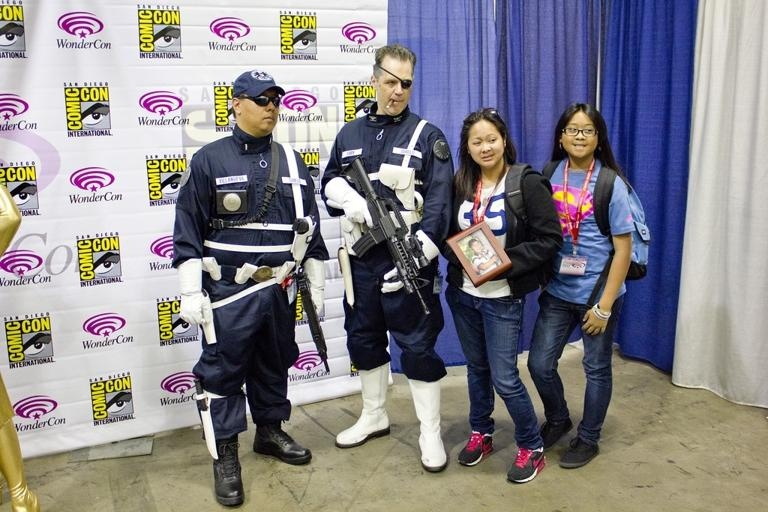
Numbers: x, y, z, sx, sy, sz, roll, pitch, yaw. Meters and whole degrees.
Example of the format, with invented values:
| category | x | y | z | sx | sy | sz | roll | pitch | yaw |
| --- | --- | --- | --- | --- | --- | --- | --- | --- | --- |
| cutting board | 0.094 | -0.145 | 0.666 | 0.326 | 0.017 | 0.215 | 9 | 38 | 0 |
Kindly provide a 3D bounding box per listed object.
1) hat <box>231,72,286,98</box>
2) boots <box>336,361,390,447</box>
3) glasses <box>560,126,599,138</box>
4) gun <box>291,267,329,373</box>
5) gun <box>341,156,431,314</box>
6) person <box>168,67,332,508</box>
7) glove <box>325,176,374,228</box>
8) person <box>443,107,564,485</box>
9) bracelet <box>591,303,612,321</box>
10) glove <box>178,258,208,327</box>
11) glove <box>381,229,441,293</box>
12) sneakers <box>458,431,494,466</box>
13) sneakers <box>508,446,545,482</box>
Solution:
| category | x | y | z | sx | sy | sz | roll | pitch | yaw |
| --- | --- | --- | --- | --- | --- | --- | --- | --- | --- |
| hat | -0.854 | -1.146 | 3.734 | 0.267 | 0.130 | 0.197 | 5 | 13 | 29 |
| boots | -0.171 | 1.123 | 4.282 | 0.467 | 0.629 | 0.204 | -11 | 21 | -29 |
| glasses | 1.315 | -0.849 | 3.786 | 0.206 | 0.071 | 0.065 | 0 | 17 | 15 |
| gun | -0.576 | 0.456 | 4.291 | 0.113 | 0.870 | 0.320 | -18 | 6 | -17 |
| gun | 0.031 | -0.181 | 3.878 | 0.487 | 1.129 | 0.154 | -24 | -12 | 15 |
| person | -0.880 | 0.174 | 3.822 | 1.034 | 2.750 | 0.652 | -12 | 18 | -26 |
| glove | -0.250 | -0.384 | 3.984 | 0.113 | 0.249 | 0.401 | -41 | 56 | -8 |
| person | 0.786 | 0.281 | 3.817 | 0.784 | 2.482 | 0.612 | 1 | 17 | 19 |
| bracelet | 1.449 | 0.373 | 3.753 | 0.089 | 0.058 | 0.111 | 1 | 20 | -7 |
| glove | -1.255 | 0.234 | 3.682 | 0.219 | 0.387 | 0.103 | -1 | 0 | 4 |
| glove | 0.262 | 0.023 | 4.107 | 0.159 | 0.284 | 0.779 | -41 | 21 | 5 |
| sneakers | 0.652 | 1.391 | 4.079 | 0.126 | 0.156 | 0.341 | 7 | 9 | 36 |
| sneakers | 1.005 | 1.433 | 3.947 | 0.133 | 0.157 | 0.338 | 0 | 14 | 36 |
